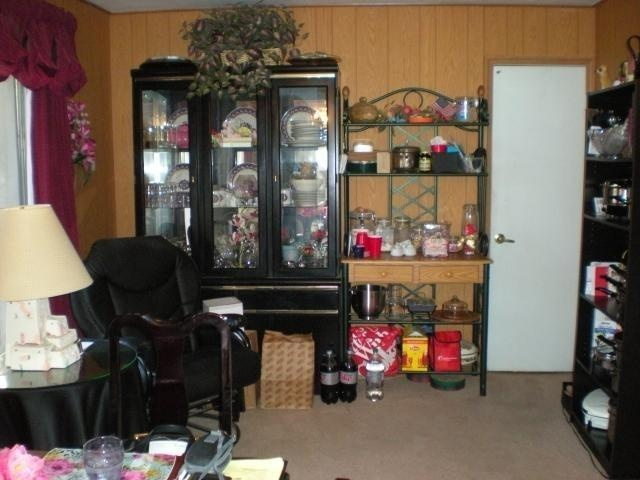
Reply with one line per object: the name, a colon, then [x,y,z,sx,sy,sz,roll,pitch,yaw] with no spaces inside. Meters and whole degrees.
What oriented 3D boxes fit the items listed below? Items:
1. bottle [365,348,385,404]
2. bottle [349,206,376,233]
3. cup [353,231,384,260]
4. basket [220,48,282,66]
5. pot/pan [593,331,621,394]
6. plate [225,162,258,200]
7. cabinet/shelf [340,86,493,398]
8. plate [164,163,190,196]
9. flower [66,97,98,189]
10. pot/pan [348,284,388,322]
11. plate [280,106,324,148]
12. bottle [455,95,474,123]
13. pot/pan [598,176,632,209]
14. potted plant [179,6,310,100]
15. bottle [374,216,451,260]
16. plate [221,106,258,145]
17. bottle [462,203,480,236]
bottle: [0.416,1.017,4.373,0.141,0.351,0.296,1,12,6]
bottle: [0.330,-0.151,4.596,0.203,0.211,0.168,0,5,-5]
cup: [0.366,0.041,4.439,0.236,0.243,0.160,0,3,2]
basket: [-0.545,-1.318,4.187,0.371,0.131,0.038,0,13,-1]
pot/pan: [1.748,0.739,3.498,0.097,0.317,0.228,12,-6,-29]
plate: [-0.588,-0.444,4.403,0.235,0.254,0.042,1,-1,11]
cabinet/shelf: [0.732,0.060,4.543,1.105,2.401,0.601,0,15,5]
plate: [-1.098,-0.474,4.449,0.200,0.216,0.047,2,-1,13]
flower: [-1.744,-0.720,4.216,0.158,0.615,0.479,-5,12,-21]
pot/pan: [0.373,0.488,4.524,0.272,0.204,0.243,1,0,0]
plate: [-0.130,-0.854,4.308,0.319,0.291,0.030,0,11,4]
bottle: [1.117,-1.006,4.429,0.140,0.189,0.053,2,11,13]
pot/pan: [1.753,-0.293,3.379,0.131,0.140,0.157,1,-1,28]
potted plant: [-0.551,-1.390,4.160,0.718,0.815,0.267,-5,10,1]
bottle: [0.747,-0.029,4.502,0.474,0.219,0.324,1,6,2]
plate: [-0.625,-0.858,4.368,0.260,0.281,0.046,9,9,5]
bottle: [1.178,-0.151,4.502,0.129,0.236,0.195,2,12,14]
